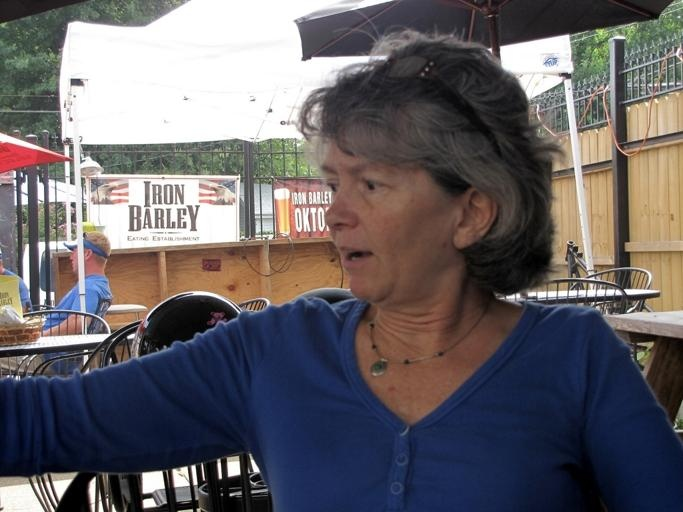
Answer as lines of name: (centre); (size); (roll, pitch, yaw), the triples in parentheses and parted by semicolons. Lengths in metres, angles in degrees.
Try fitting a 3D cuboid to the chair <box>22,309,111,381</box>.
chair: (-1.576, 0.491, 4.374); (0.393, 0.613, 0.454); (8, -7, -35)
